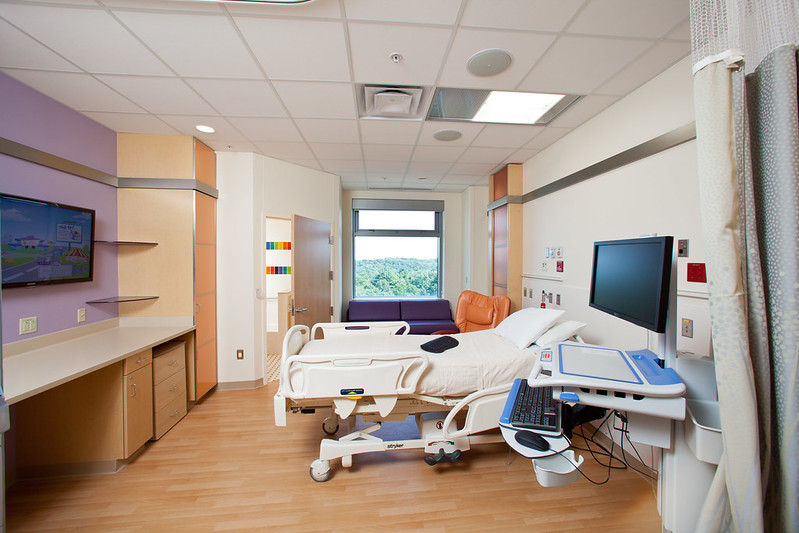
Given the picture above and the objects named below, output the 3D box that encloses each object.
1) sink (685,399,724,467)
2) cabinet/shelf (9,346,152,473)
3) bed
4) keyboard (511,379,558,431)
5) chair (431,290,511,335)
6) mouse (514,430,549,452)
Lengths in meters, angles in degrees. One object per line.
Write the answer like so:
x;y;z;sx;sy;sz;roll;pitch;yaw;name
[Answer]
1.900;1.020;3.235;0.198;0.341;0.189;1;2;29;sink
-2.664;1.017;4.704;0.860;1.115;1.242;-1;2;1;cabinet/shelf
0.033;0.998;4.461;1.934;0.861;1.356;1;2;0;bed
0.932;0.964;3.485;0.381;0.529;0.083;2;47;11;keyboard
0.938;0.567;6.387;0.718;0.780;0.548;9;-5;-32;chair
0.833;1.088;3.257;0.097;0.042;0.172;-16;16;-35;mouse
